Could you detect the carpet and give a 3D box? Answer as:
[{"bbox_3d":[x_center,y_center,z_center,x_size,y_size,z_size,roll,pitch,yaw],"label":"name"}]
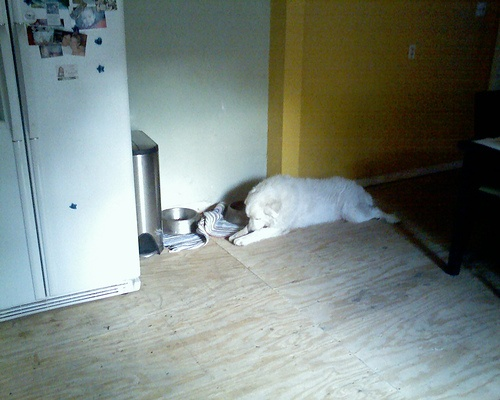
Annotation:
[{"bbox_3d":[-0.337,0.198,2.870,0.607,0.140,0.276,-21,32,-33],"label":"carpet"}]
